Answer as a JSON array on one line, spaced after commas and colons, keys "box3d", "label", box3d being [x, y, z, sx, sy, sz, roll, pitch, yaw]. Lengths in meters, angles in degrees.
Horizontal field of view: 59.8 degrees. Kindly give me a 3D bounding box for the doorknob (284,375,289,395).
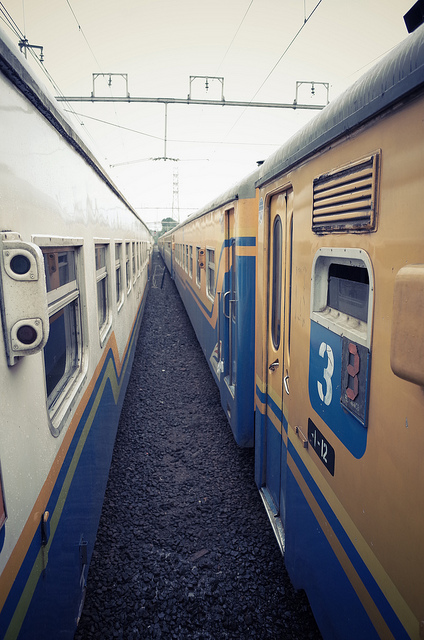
[{"box3d": [0.468, 0.410, 2.345, 0.022, 0.095, 0.064, 3, -7, -24], "label": "doorknob"}]
